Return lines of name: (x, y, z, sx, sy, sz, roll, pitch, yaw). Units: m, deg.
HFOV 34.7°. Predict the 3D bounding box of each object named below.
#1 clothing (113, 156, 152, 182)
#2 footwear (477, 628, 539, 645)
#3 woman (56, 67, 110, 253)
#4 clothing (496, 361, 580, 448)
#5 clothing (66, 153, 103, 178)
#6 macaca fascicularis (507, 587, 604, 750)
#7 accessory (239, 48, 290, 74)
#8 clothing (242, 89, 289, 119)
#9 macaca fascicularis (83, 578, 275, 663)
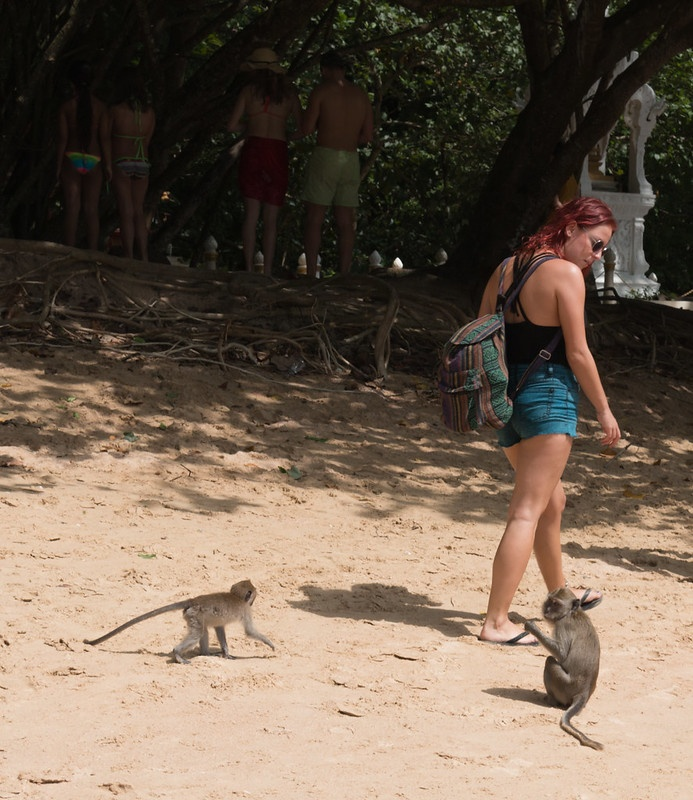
clothing: (-1.876, -2.034, 9.742, 0.318, 0.148, 0.202, -3, -1, -33)
footwear: (0.677, 1.002, 4.673, 0.275, 0.046, 0.076, -1, 31, 0)
woman: (-2.274, -2.097, 9.612, 0.476, 1.549, 0.446, 8, 14, -14)
clothing: (0.823, 0.021, 4.781, 0.369, 0.367, 0.492, 3, -3, -32)
clothing: (-2.244, -2.028, 9.512, 0.355, 0.187, 0.048, 0, 46, -18)
macaca fascicularis: (0.766, 0.904, 3.897, 0.334, 0.424, 0.578, 12, 12, 9)
accessory: (-0.707, -2.958, 9.811, 0.435, 0.199, 0.435, 0, 11, 4)
clothing: (-0.721, -2.530, 9.630, 0.435, 0.397, 0.235, 1, 11, -4)
macaca fascicularis: (-0.620, 0.823, 4.082, 0.772, 0.231, 0.179, 5, -3, -40)
